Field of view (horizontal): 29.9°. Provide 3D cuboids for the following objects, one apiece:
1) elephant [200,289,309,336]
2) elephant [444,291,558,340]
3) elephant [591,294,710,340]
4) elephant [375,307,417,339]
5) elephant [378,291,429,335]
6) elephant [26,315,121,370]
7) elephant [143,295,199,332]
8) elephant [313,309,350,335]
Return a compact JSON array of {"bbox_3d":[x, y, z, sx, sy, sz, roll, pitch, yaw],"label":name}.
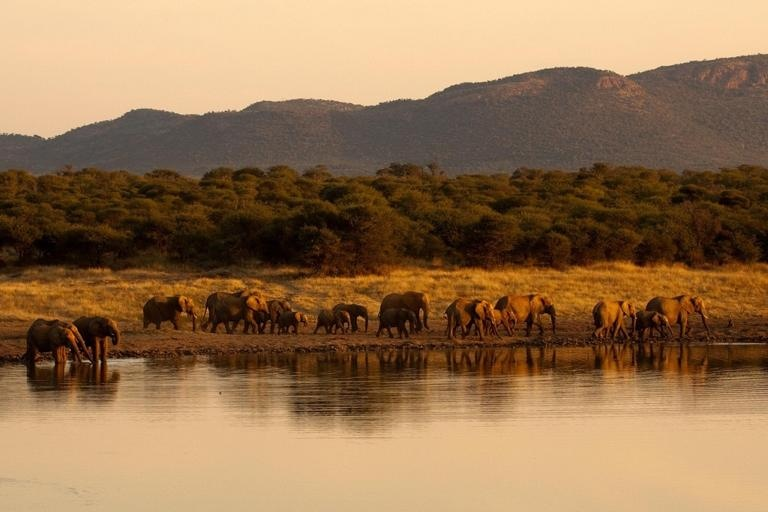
[{"bbox_3d":[-6.422,2.696,64.431,3.558,1.842,1.450,0,12,-8],"label":"elephant"},{"bbox_3d":[5.432,2.415,64.084,6.248,2.420,3.034,0,-4,25],"label":"elephant"},{"bbox_3d":[12.233,2.947,64.960,6.920,2.614,2.043,0,0,-16],"label":"elephant"},{"bbox_3d":[0.482,3.092,63.768,1.731,1.289,1.589,1,12,0],"label":"elephant"},{"bbox_3d":[1.053,2.466,65.560,2.449,2.217,1.428,11,-6,8],"label":"elephant"},{"bbox_3d":[-12.732,3.570,58.284,3.693,1.910,1.712,-2,4,-25],"label":"elephant"},{"bbox_3d":[-9.739,2.592,63.645,2.706,1.430,1.197,-2,4,-15],"label":"elephant"},{"bbox_3d":[-2.433,3.053,64.709,1.638,1.103,1.470,0,12,-4],"label":"elephant"}]
